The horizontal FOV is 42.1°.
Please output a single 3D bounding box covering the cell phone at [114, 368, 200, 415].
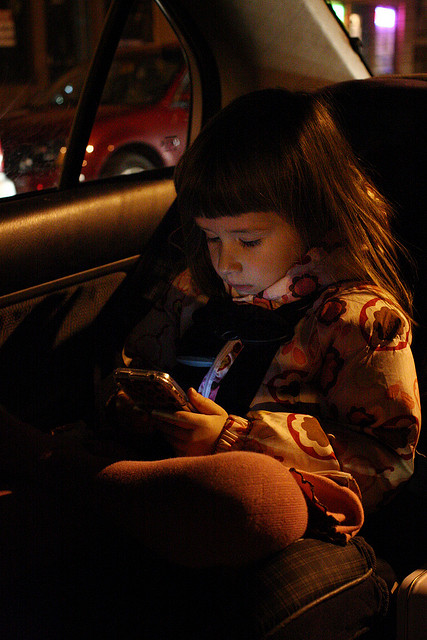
[{"bbox_3d":[-0.093,0.093,0.743,0.106,0.027,0.132,10,-26,1],"label":"cell phone"}]
